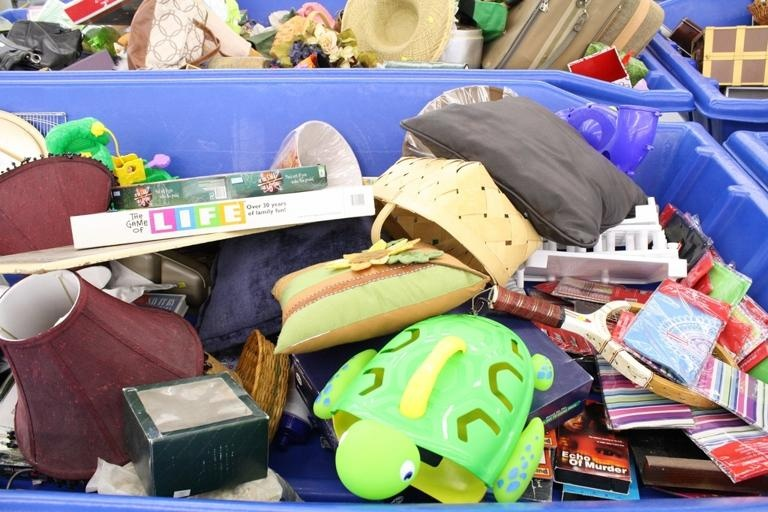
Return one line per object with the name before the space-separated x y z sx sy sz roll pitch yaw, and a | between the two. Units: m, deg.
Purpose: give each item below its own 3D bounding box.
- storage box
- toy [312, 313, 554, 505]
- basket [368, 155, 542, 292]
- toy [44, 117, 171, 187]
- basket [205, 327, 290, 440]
storage box | -0.007 -0.166 1.826 1.776 0.568 1.116 1 72 -5
toy | 0.119 0.276 0.989 0.365 0.162 0.390 23 50 24
basket | 0.144 -0.066 1.418 0.390 0.155 0.351 39 60 14
toy | -0.756 -0.278 1.533 0.309 0.143 0.252 12 5 -38
basket | -0.285 0.285 1.219 0.090 0.199 0.238 5 32 -15
